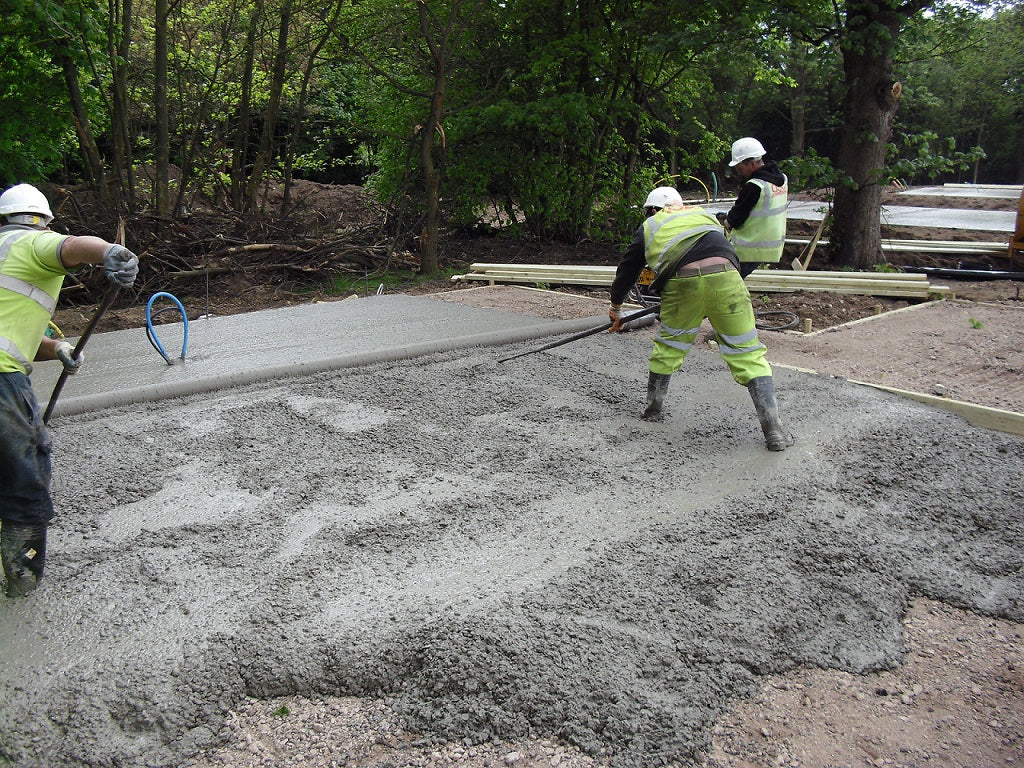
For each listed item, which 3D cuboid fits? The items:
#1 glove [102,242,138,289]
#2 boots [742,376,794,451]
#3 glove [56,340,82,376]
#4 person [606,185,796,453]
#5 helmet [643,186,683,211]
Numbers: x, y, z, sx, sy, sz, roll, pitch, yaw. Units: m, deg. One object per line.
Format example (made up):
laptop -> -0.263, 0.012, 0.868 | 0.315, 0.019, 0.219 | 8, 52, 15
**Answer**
glove -> -2.235, -0.638, 4.644 | 0.216, 0.124, 0.264 | 17, 32, -41
boots -> 1.873, 0.199, 5.858 | 0.366, 0.492, 0.322 | 0, 13, -7
glove -> -2.697, -0.152, 5.013 | 0.185, 0.221, 0.094 | -5, 47, -9
person -> 1.376, -0.527, 6.080 | 0.447, 1.801, 1.512 | -10, 17, -42
helmet -> 1.162, -1.432, 6.390 | 0.229, 0.145, 0.278 | -1, 16, -1
